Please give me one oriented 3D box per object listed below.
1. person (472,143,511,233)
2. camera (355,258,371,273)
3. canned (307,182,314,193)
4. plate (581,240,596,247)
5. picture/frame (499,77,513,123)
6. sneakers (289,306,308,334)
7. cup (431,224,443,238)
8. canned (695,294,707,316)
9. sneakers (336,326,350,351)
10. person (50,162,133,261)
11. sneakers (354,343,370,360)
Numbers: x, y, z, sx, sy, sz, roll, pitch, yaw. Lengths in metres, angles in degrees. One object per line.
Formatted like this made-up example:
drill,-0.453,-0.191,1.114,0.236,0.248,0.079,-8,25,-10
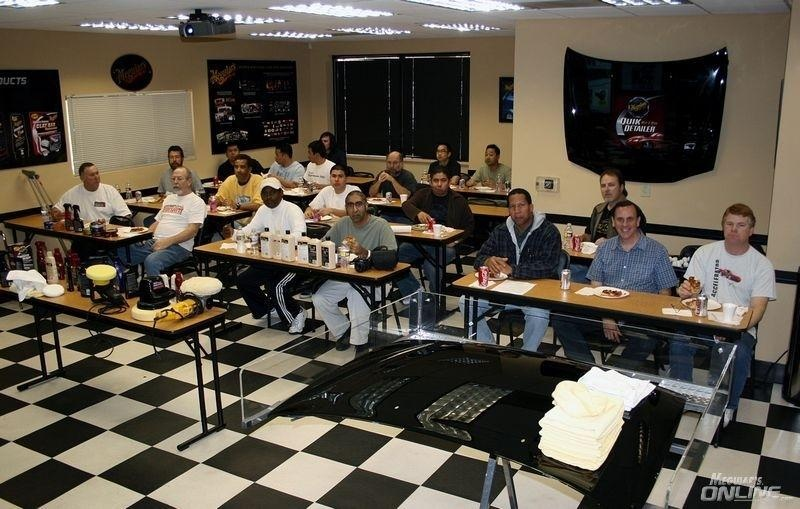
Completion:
person,1.758,-1.275,9.892,0.867,1.655,0.874,4,17,21
camera,-0.439,0.122,5.703,0.160,0.142,0.150,-4,8,-35
canned,-1.696,-1.247,9.326,0.072,0.184,0.136,-21,-7,3
plate,2.382,-0.133,6.324,0.133,0.045,0.102,2,5,-5
picture/frame,2.359,-3.295,10.716,0.073,0.969,0.564,-16,25,-27
sneakers,-1.312,0.856,6.471,0.154,0.158,0.375,6,50,16
cup,0.478,-0.324,6.778,0.162,0.146,0.136,-1,-1,34
canned,2.651,0.447,4.384,0.089,0.184,0.085,4,17,20
sneakers,-0.409,0.625,3.600,0.076,0.085,0.160,4,16,17
person,-4.769,-0.666,7.664,1.081,1.296,0.764,-2,14,-12
sneakers,-0.271,0.680,3.607,0.147,0.061,0.078,-14,20,-39
